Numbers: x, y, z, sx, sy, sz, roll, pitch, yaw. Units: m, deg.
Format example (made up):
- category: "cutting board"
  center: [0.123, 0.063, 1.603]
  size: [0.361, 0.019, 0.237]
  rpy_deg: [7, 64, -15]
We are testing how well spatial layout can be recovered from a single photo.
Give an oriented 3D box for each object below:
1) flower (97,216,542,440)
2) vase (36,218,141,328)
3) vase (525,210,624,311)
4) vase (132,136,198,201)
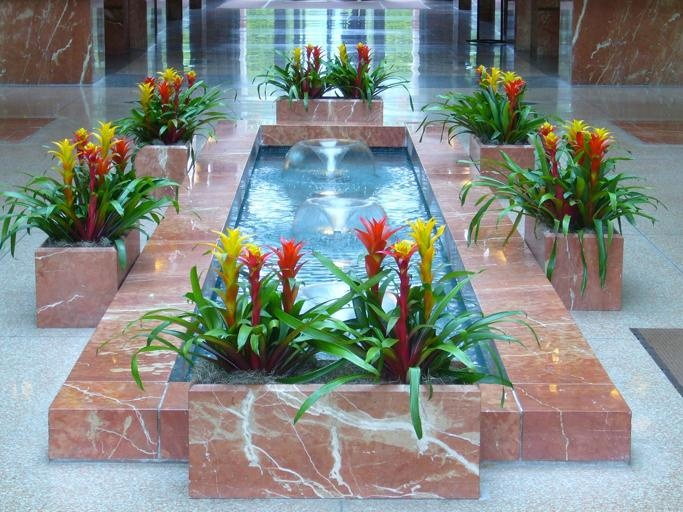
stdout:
- category: "flower"
  center: [-0.139, 0.265, 2.361]
  size: [1.283, 0.416, 1.190]
  rpy_deg: [1, 19, -1]
- category: "vase"
  center: [-1.596, 0.175, 3.608]
  size: [0.463, 0.396, 0.845]
  rpy_deg: [3, 16, -2]
- category: "vase"
  center: [1.538, -0.128, 3.730]
  size: [0.483, 0.412, 0.910]
  rpy_deg: [-1, 18, 1]
- category: "vase"
  center: [-1.918, -0.828, 5.721]
  size: [0.477, 0.554, 0.628]
  rpy_deg: [0, 16, 18]
